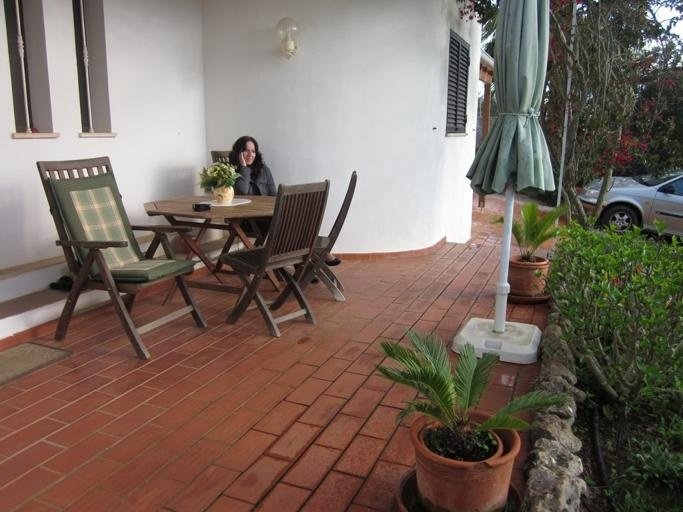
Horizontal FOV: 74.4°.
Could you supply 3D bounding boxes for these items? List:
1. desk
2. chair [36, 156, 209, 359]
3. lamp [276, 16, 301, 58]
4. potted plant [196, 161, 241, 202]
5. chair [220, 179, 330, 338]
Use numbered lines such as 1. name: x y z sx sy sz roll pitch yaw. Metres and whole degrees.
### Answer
1. desk: -1.308 0.016 4.812 1.293 0.859 1.232 4 11 22
2. chair: -1.866 -0.187 4.858 1.719 2.415 1.467 6 10 24
3. lamp: -0.699 -2.845 5.907 0.295 0.468 0.167 -5 16 1
4. potted plant: -1.343 -0.800 5.073 0.517 0.531 0.511 -2 1 -43
5. chair: -0.627 -0.020 4.242 0.914 1.355 0.712 4 18 30
